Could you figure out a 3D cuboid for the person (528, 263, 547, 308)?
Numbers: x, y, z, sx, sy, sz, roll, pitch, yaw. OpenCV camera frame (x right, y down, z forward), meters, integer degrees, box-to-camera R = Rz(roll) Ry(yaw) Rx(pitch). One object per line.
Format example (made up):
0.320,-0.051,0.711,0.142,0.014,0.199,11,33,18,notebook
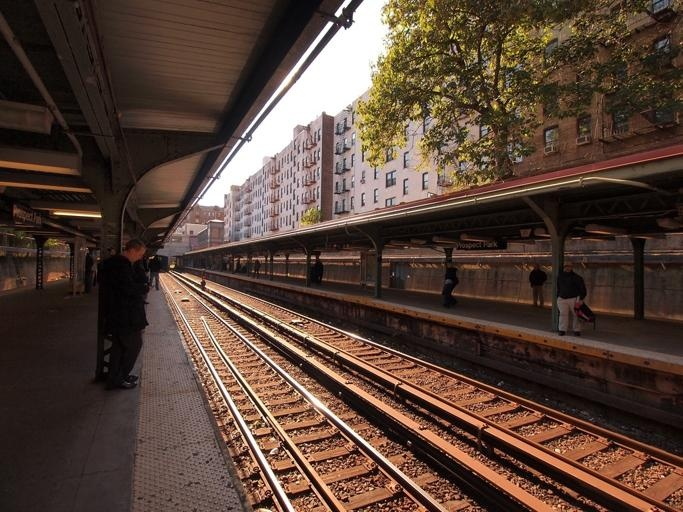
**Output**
7.015,0.964,16.949,0.494,1.561,2.100,2,5,22,person

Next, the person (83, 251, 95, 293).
-11.879,0.746,21.996,0.391,1.606,2.168,-2,5,-29,person

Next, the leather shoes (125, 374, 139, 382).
-3.612,2.078,8.111,0.091,0.099,0.247,3,-8,-37,leather shoes

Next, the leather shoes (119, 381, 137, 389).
-3.539,2.115,7.783,0.284,0.124,0.096,-1,-1,-6,leather shoes

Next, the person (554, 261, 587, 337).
5.373,1.010,11.072,0.590,1.685,0.508,2,5,25,person

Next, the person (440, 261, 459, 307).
3.752,0.955,16.330,0.442,1.344,2.010,1,5,14,person
